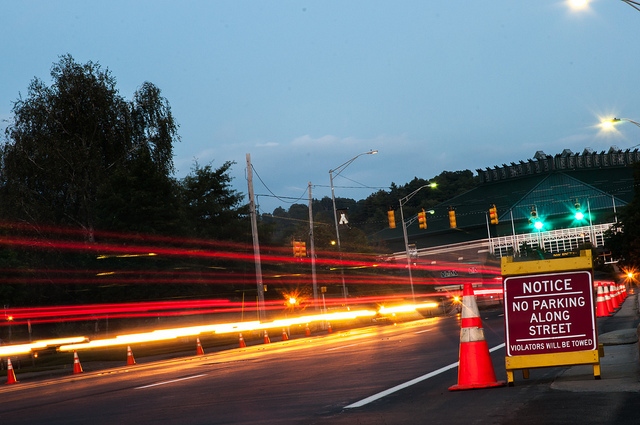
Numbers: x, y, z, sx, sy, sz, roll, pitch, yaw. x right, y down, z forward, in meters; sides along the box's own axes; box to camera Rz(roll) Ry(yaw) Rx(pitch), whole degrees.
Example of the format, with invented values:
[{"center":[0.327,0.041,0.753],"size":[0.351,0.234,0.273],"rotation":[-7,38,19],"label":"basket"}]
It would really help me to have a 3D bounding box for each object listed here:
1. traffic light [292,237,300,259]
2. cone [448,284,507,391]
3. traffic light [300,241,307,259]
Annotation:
[{"center":[-1.900,3.046,43.396],"size":[0.526,1.276,1.499],"rotation":[-5,-7,-2],"label":"traffic light"},{"center":[2.779,2.210,9.784],"size":[0.966,1.991,1.073],"rotation":[-1,0,-1],"label":"cone"},{"center":[-1.445,3.043,43.537],"size":[0.423,1.256,1.178],"rotation":[-6,-7,3],"label":"traffic light"}]
